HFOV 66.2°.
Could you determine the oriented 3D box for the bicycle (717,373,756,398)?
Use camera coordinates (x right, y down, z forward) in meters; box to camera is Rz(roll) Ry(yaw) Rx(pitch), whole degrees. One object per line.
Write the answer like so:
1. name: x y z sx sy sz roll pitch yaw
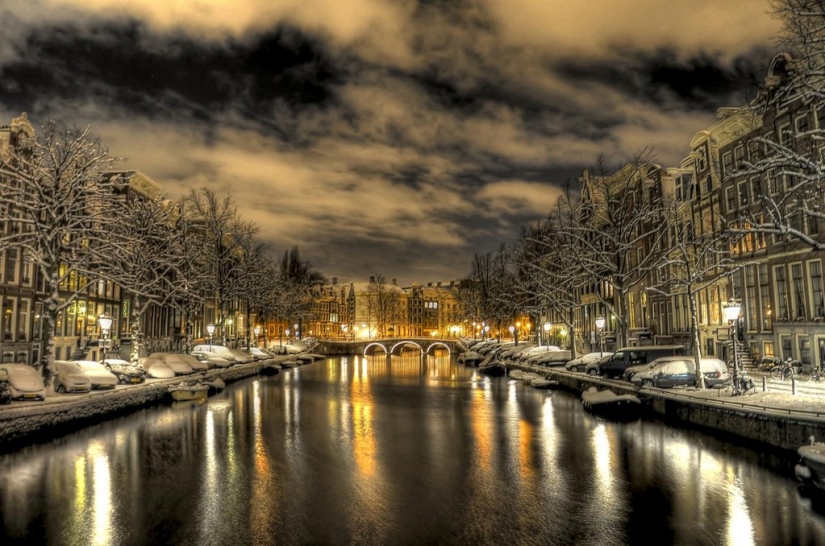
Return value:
1. bicycle: 18.613 6.499 36.479 1.804 1.201 1.219 -3 0 -27
